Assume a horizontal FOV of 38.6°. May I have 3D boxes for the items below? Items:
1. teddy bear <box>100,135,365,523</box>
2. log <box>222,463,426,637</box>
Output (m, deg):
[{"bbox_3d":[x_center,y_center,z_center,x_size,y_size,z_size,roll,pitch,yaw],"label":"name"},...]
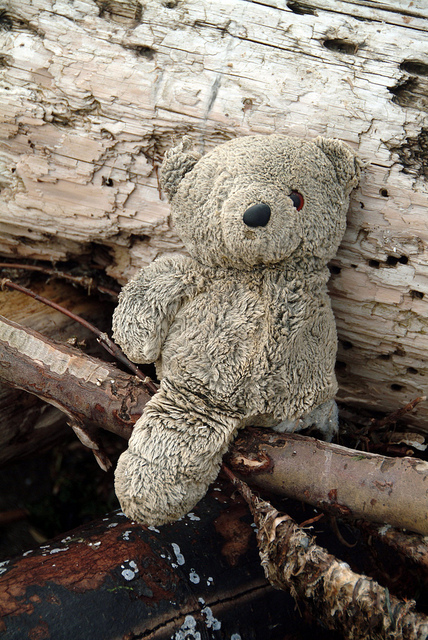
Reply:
[{"bbox_3d":[0.046,-0.006,1.626,0.774,0.876,0.484,-11,30,-22],"label":"teddy bear"},{"bbox_3d":[0.274,0.609,1.525,0.633,0.179,0.177,35,10,23],"label":"log"}]
